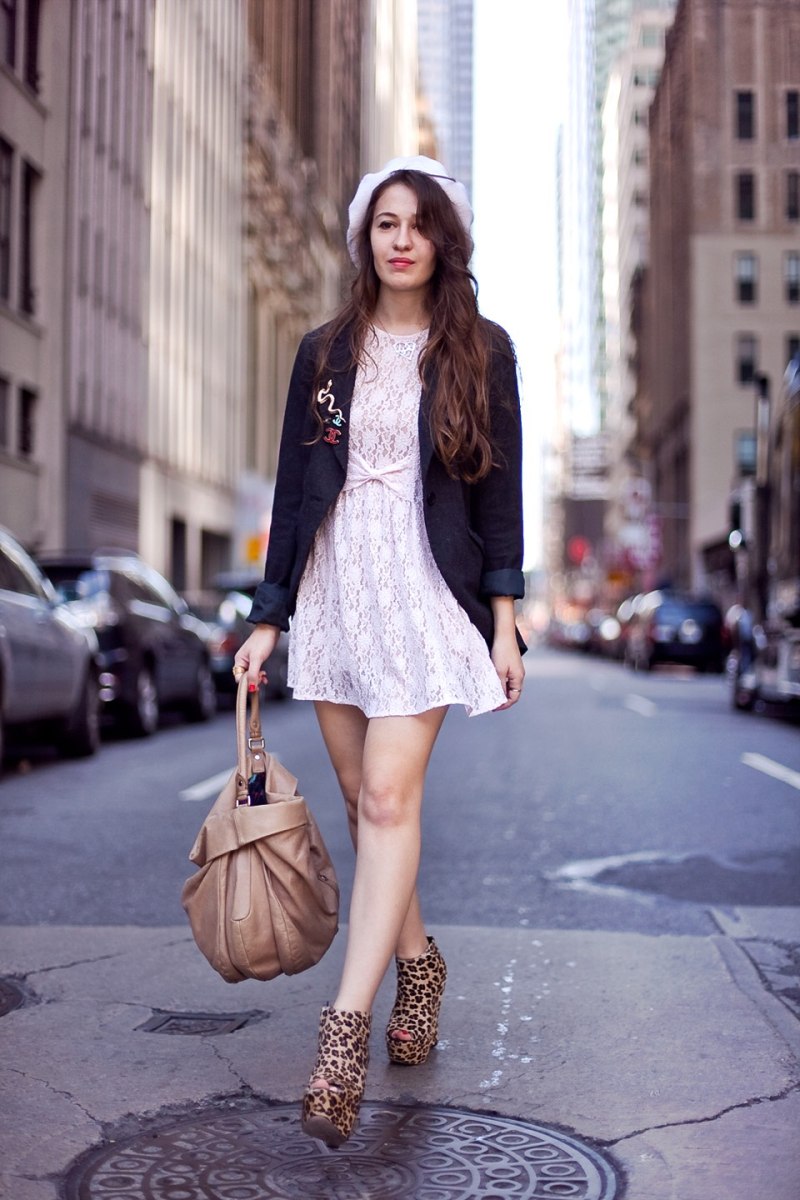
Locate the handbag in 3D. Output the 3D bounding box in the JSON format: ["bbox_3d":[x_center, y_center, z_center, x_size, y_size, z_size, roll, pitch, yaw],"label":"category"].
[{"bbox_3d":[-0.276,0.464,2.685,0.299,0.612,0.247,0,-1,-6],"label":"handbag"}]

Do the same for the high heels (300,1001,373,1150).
[{"bbox_3d":[-0.110,0.793,2.266,0.088,0.165,0.253,0,-1,5],"label":"high heels"}]
